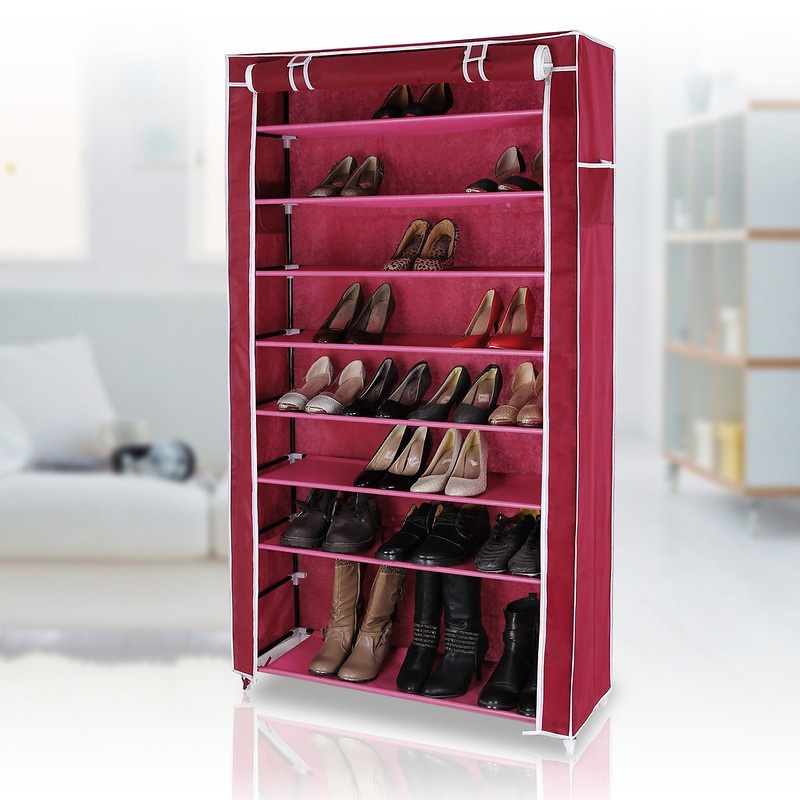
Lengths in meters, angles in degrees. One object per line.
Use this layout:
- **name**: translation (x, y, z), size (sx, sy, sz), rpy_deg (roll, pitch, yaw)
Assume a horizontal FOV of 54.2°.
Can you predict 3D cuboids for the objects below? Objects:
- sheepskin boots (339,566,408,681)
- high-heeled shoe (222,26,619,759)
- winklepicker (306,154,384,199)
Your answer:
- **sheepskin boots**: translation (-0.092, 0.765, 2.711), size (0.166, 0.297, 0.390), rpy_deg (3, 6, 26)
- **high-heeled shoe**: translation (0.067, -0.025, 2.613), size (1.244, 2.183, 0.538), rpy_deg (2, 8, 21)
- **winklepicker**: translation (-0.172, -0.746, 2.669), size (0.196, 0.080, 0.251), rpy_deg (9, 41, 24)
